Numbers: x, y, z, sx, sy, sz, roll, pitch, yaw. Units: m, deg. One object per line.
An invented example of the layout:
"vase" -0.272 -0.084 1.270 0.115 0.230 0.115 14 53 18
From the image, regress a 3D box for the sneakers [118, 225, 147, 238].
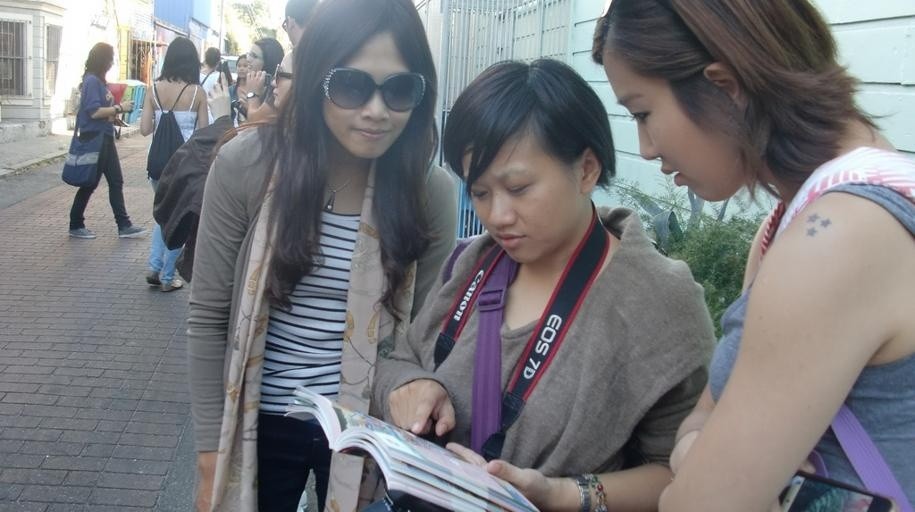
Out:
"sneakers" -5.265 -0.413 9.899 0.530 0.211 0.187 -6 17 -22

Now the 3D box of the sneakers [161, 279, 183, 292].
"sneakers" -3.672 0.357 7.770 0.107 0.121 0.278 18 28 38

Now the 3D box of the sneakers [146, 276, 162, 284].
"sneakers" -3.926 0.319 7.762 0.124 0.126 0.076 57 20 21

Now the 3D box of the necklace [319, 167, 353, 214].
"necklace" -0.592 -0.332 2.967 0.121 0.197 0.049 8 -3 -14

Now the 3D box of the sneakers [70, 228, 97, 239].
"sneakers" -5.973 -0.371 9.609 0.452 0.183 0.170 0 12 -11
